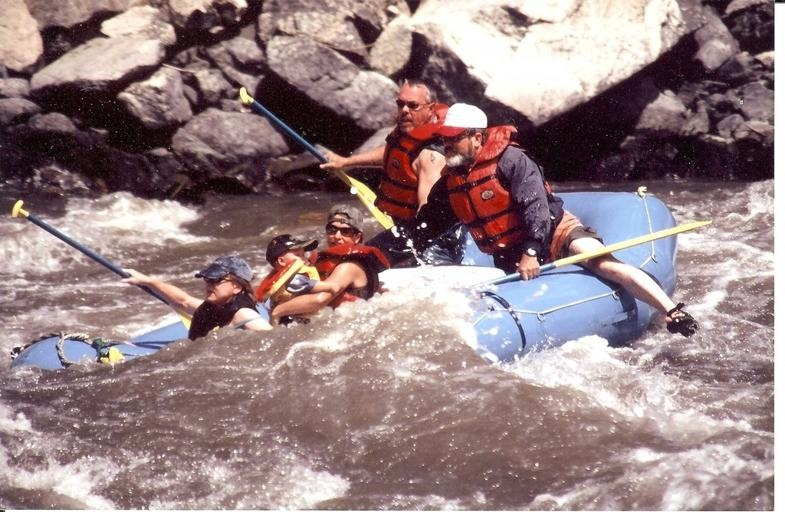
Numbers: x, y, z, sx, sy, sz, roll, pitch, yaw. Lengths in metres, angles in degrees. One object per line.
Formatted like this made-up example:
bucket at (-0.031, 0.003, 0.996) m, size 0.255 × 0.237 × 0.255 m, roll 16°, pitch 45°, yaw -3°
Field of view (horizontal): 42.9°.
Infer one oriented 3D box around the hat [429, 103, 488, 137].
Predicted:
hat at (0.468, -0.923, 6.718) m, size 0.317 × 0.143 × 0.213 m, roll 1°, pitch 11°, yaw 0°

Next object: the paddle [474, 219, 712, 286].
paddle at (1.311, -0.022, 6.849) m, size 1.414 × 0.028 × 0.139 m, roll -16°, pitch -7°, yaw -11°

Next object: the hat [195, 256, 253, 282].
hat at (-1.033, 0.084, 6.126) m, size 0.287 × 0.121 × 0.177 m, roll 2°, pitch -5°, yaw -16°

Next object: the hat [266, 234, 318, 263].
hat at (-0.647, -0.063, 6.289) m, size 0.288 × 0.127 × 0.175 m, roll -26°, pitch 5°, yaw -2°

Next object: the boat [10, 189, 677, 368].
boat at (0.187, 0.188, 6.460) m, size 3.343 × 0.554 × 1.796 m, roll -10°, pitch 20°, yaw -12°

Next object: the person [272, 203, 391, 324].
person at (-0.429, 0.033, 6.434) m, size 0.676 × 0.580 × 0.948 m, roll 16°, pitch 26°, yaw 42°

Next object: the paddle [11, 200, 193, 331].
paddle at (-2.288, 0.104, 7.695) m, size 1.660 × 0.223 × 0.214 m, roll 31°, pitch 2°, yaw -9°

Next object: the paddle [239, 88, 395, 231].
paddle at (-0.637, -0.839, 8.483) m, size 1.937 × 0.216 × 0.153 m, roll 39°, pitch 39°, yaw 13°

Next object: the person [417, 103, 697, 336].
person at (1.198, -0.264, 7.252) m, size 0.985 × 1.699 × 1.576 m, roll -35°, pitch 4°, yaw -31°
